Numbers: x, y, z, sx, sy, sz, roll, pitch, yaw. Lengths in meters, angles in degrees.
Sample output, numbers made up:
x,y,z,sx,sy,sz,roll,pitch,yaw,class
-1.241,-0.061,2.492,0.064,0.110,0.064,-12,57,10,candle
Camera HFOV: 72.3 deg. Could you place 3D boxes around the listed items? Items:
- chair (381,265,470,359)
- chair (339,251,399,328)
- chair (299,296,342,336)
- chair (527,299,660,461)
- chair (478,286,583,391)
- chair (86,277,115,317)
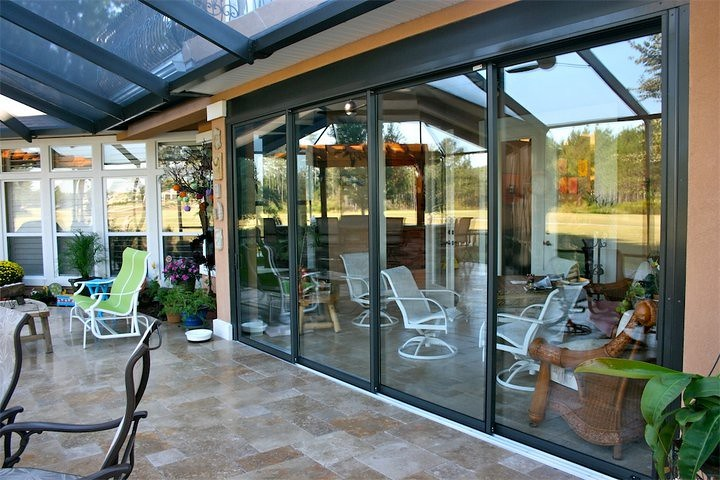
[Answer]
x,y,z,sx,sy,sz,roll,pitch,yaw,class
0.642,0.688,4.736,0.703,0.703,0.651,2,2,21,chair
0.174,0.487,5.103,0.582,0.631,0.581,-4,5,-21,chair
-0.463,0.824,5.597,0.521,0.325,0.473,-1,-1,-13,chair
1.989,1.017,4.001,0.836,1.111,0.915,9,6,44,chair
1.397,0.762,4.214,0.851,0.942,0.876,-1,2,-43,chair
-4.325,0.891,8.196,0.680,0.587,0.593,-2,11,-29,chair
